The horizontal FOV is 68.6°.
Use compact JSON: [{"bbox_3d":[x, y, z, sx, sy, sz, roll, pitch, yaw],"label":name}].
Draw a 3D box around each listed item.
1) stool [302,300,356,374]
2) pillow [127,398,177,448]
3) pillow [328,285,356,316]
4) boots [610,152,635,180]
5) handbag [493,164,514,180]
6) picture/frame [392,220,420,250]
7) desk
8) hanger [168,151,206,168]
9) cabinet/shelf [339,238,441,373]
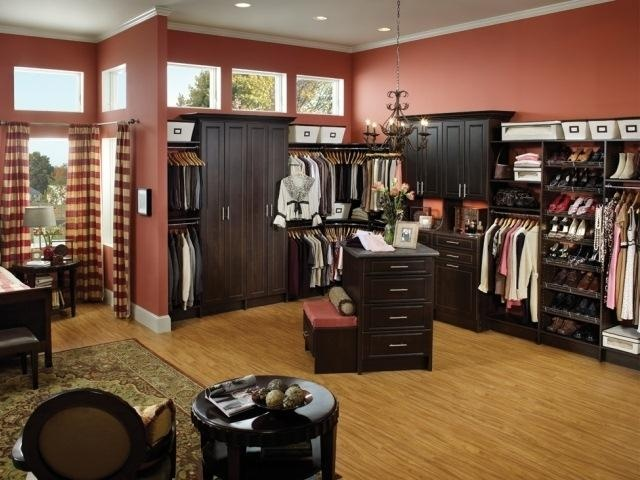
[{"bbox_3d":[0.075,0.984,5.158,0.563,0.596,0.930,0,6,-7],"label":"stool"},{"bbox_3d":[-0.931,1.013,2.673,0.221,0.292,0.111,6,-8,-3],"label":"pillow"},{"bbox_3d":[0.244,0.659,5.023,0.133,0.147,0.514,-20,4,-5],"label":"pillow"},{"bbox_3d":[3.258,-0.796,5.059,0.211,0.277,0.279,5,10,31],"label":"boots"},{"bbox_3d":[2.356,-0.868,6.063,0.305,0.217,0.173,-5,9,-41],"label":"handbag"},{"bbox_3d":[0.924,-0.050,5.100,0.325,0.388,0.028,2,-11,20],"label":"picture/frame"},{"bbox_3d":[-3.817,0.671,6.625,0.823,0.784,0.901,-1,4,-29],"label":"desk"},{"bbox_3d":[-1.780,-1.082,6.298,0.472,0.204,0.267,-3,9,-18],"label":"hanger"},{"bbox_3d":[0.742,0.676,5.393,1.279,1.834,1.146,-1,1,-13],"label":"cabinet/shelf"}]
